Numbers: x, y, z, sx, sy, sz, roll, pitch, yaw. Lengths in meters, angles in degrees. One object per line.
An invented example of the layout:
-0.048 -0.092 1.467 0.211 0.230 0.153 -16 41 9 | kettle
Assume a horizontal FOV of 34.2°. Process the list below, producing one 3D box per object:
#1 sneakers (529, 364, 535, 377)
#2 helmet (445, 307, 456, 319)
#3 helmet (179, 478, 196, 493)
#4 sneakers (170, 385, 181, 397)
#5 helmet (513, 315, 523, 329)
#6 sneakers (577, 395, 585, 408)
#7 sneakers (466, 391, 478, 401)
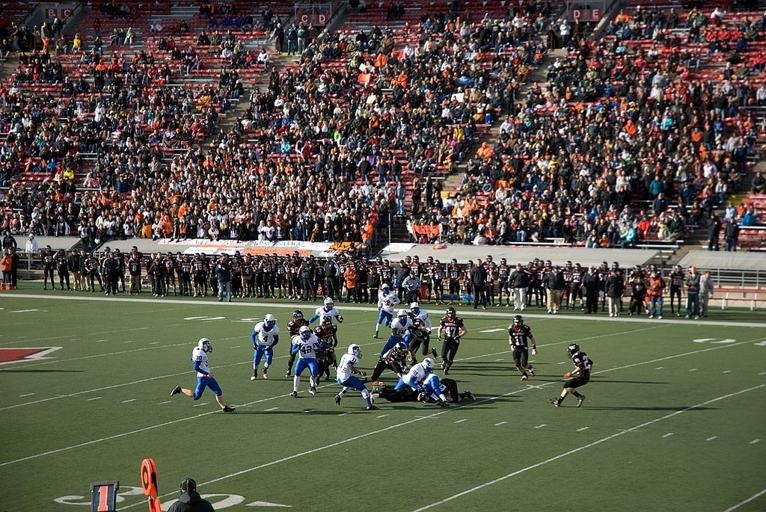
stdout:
4.845 3.635 40.229 0.161 0.186 0.462 -7 0 9 | sneakers
2.221 1.827 40.729 0.320 0.343 0.361 3 12 5 | helmet
-4.616 5.395 29.345 0.393 0.375 0.450 2 12 -3 | helmet
-6.337 4.038 37.765 0.191 0.206 0.534 24 -48 -22 | sneakers
4.270 2.034 39.714 0.336 0.348 0.390 1 -3 16 | helmet
5.937 4.292 37.259 0.233 0.145 0.439 9 -34 8 | sneakers
2.688 4.204 37.927 0.489 0.187 0.156 28 54 29 | sneakers
